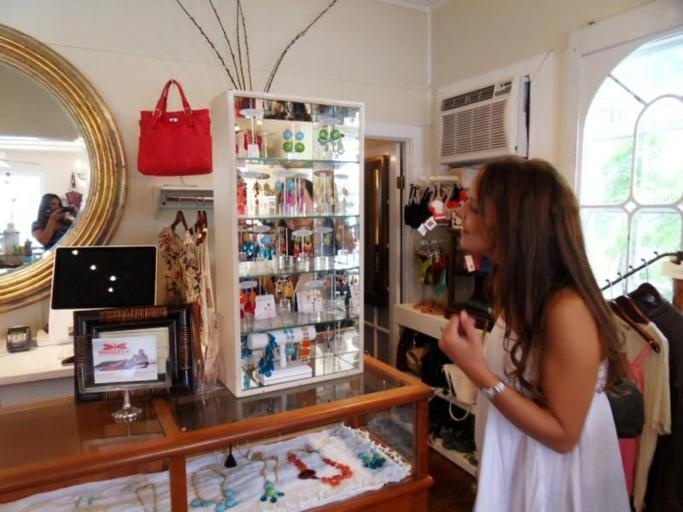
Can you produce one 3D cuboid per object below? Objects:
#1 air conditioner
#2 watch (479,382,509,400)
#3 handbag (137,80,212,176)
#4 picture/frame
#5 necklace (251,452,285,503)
[{"bbox_3d":[1.069,-1.022,3.839,0.184,0.556,0.718,-8,8,-34],"label":"air conditioner"},{"bbox_3d":[0.524,0.466,1.753,0.073,0.052,0.079,-19,-22,-7],"label":"watch"},{"bbox_3d":[-1.069,-0.732,3.240,0.463,0.408,0.123,-2,7,6],"label":"handbag"},{"bbox_3d":[-0.875,0.421,2.147,0.390,0.319,0.077,-1,2,-15],"label":"picture/frame"},{"bbox_3d":[-0.325,0.966,2.204,0.145,0.038,0.257,-2,34,-9],"label":"necklace"}]
